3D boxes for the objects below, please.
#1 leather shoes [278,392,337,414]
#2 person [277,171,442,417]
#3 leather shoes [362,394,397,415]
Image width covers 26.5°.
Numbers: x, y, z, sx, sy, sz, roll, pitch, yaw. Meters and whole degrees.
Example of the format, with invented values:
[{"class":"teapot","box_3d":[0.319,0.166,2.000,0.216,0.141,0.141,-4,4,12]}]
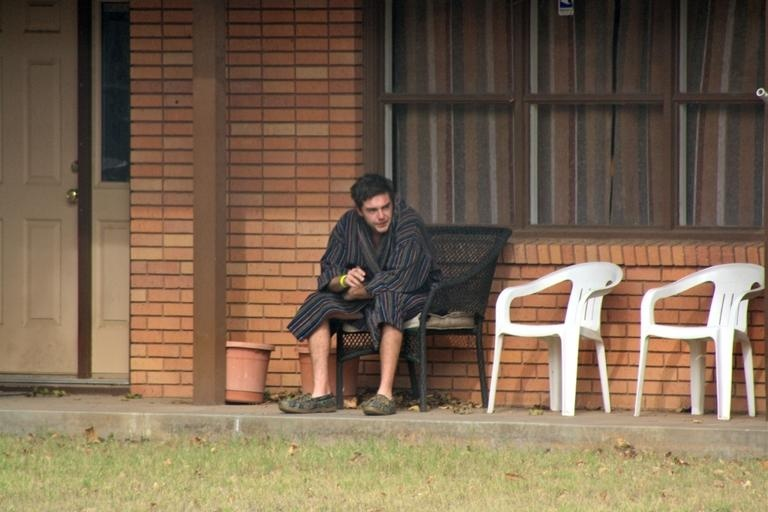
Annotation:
[{"class":"leather shoes","box_3d":[-0.619,1.193,12.998,0.448,0.175,0.169,4,-7,-20]},{"class":"person","box_3d":[-0.183,0.375,13.104,1.149,1.826,0.478,0,-7,4]},{"class":"leather shoes","box_3d":[-0.055,1.177,12.828,0.248,0.179,0.196,1,-7,-1]}]
